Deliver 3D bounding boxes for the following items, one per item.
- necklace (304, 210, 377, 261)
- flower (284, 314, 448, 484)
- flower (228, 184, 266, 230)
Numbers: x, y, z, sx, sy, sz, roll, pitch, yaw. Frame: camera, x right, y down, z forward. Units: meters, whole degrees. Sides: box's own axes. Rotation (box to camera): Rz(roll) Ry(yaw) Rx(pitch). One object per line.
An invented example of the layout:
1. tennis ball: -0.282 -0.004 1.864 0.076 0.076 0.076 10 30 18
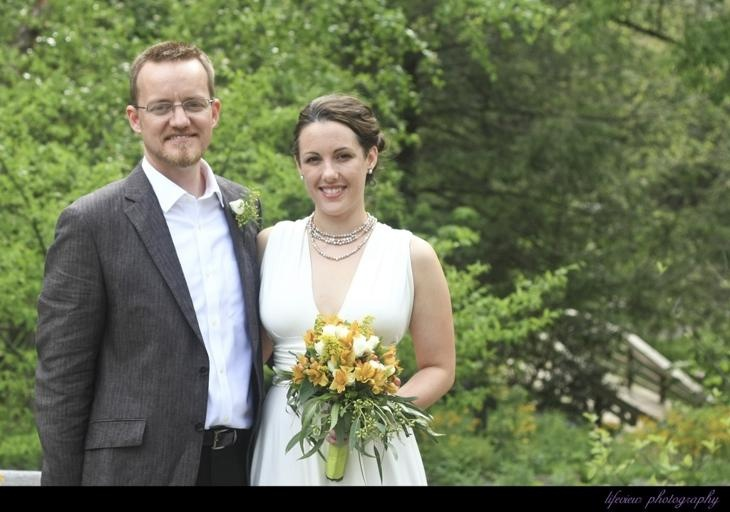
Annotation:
1. necklace: -0.176 -0.129 7.710 0.389 0.394 0.161 -3 -14 -3
2. flower: -0.108 1.079 7.463 1.194 0.979 1.098 12 -4 21
3. flower: -0.853 -0.361 7.727 0.171 0.254 0.263 -20 37 20
